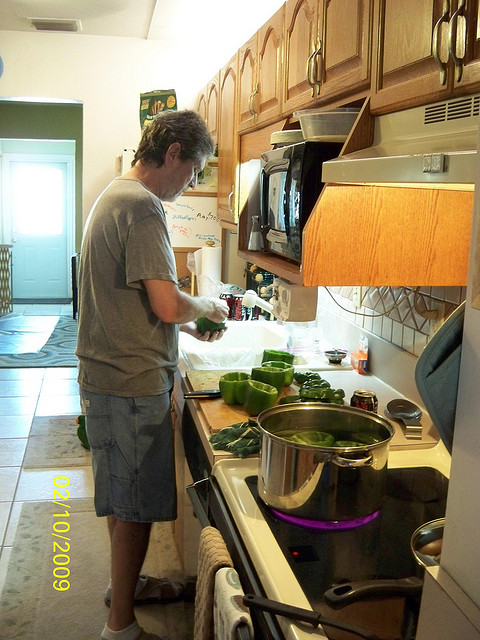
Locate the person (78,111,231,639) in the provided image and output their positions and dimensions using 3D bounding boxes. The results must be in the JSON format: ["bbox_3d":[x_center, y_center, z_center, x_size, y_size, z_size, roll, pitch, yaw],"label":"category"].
[{"bbox_3d":[-0.310,0.195,1.718,0.479,1.854,0.395,-3,10,-28],"label":"person"}]

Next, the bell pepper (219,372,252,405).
[{"bbox_3d":[-0.015,0.223,1.593,0.099,0.078,0.087,2,12,0],"label":"bell pepper"}]

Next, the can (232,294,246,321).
[{"bbox_3d":[-0.007,-0.066,2.840,0.080,0.148,0.201,2,9,-1],"label":"can"}]

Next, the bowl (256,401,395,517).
[{"bbox_3d":[0.172,0.269,0.949,0.209,0.126,0.255,2,4,-12],"label":"bowl"}]

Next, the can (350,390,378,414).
[{"bbox_3d":[0.351,0.229,1.381,0.066,0.068,0.067,1,-1,3],"label":"can"}]

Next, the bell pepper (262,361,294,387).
[{"bbox_3d":[0.138,0.195,1.757,0.077,0.069,0.101,2,3,-3],"label":"bell pepper"}]

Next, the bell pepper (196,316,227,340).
[{"bbox_3d":[-0.115,0.031,1.881,0.111,0.091,0.064,1,9,-7],"label":"bell pepper"}]

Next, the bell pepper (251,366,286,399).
[{"bbox_3d":[0.098,0.203,1.624,0.086,0.088,0.107,12,3,-26],"label":"bell pepper"}]

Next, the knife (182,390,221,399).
[{"bbox_3d":[-0.136,0.245,1.638,0.136,0.028,0.041,1,-3,-7],"label":"knife"}]

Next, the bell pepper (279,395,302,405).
[{"bbox_3d":[0.151,0.238,1.472,0.048,0.020,0.028,-10,3,-1],"label":"bell pepper"}]

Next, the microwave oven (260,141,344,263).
[{"bbox_3d":[0.252,-0.402,1.668,0.309,0.367,0.524,-5,15,-9],"label":"microwave oven"}]

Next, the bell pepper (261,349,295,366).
[{"bbox_3d":[0.151,0.135,1.881,0.071,0.062,0.082,11,4,-28],"label":"bell pepper"}]

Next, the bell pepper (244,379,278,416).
[{"bbox_3d":[0.061,0.242,1.477,0.100,0.097,0.109,2,9,1],"label":"bell pepper"}]

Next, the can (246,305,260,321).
[{"bbox_3d":[0.069,-0.045,2.849,0.078,0.106,0.265,0,-1,3],"label":"can"}]

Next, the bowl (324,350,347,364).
[{"bbox_3d":[0.400,0.156,2.061,0.090,0.046,0.079,4,10,14],"label":"bowl"}]
